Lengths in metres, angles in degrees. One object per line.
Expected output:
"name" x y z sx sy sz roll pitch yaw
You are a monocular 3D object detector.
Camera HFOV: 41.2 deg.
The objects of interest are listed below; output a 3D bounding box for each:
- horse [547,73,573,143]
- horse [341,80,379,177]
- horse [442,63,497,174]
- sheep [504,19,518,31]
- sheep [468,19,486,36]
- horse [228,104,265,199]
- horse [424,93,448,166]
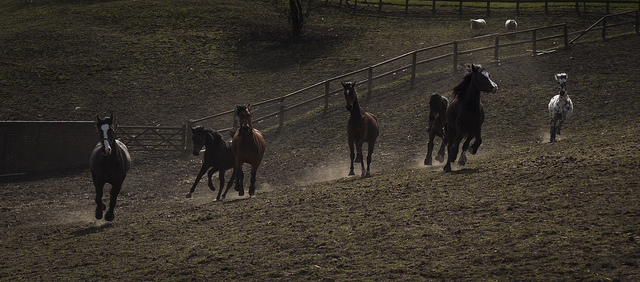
"horse" 21.850 -2.509 77.249 2.936 5.324 8.986 4 -10 15
"horse" 3.429 -0.372 75.810 3.646 7.122 10.864 -1 -13 10
"horse" 12.420 -2.208 71.607 3.317 8.085 3.814 11 25 37
"sheep" 21.697 -13.175 96.307 1.705 1.323 1.438 -1 47 14
"sheep" 18.205 -13.139 97.977 1.513 1.492 1.605 -1 18 9
"horse" -6.462 0.891 73.806 2.712 8.008 2.727 -6 20 -3
"horse" 8.953 -1.243 75.316 2.575 5.696 5.172 3 3 6
